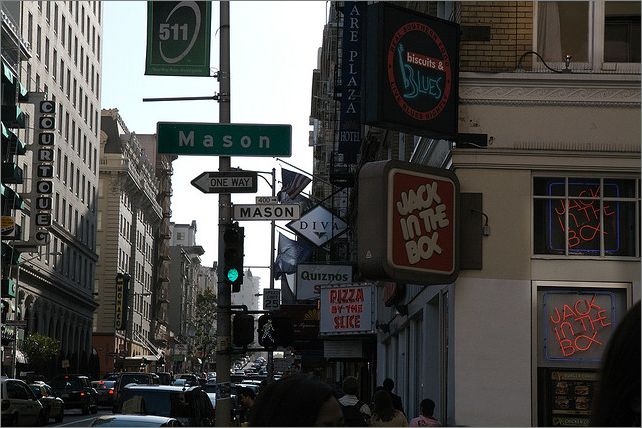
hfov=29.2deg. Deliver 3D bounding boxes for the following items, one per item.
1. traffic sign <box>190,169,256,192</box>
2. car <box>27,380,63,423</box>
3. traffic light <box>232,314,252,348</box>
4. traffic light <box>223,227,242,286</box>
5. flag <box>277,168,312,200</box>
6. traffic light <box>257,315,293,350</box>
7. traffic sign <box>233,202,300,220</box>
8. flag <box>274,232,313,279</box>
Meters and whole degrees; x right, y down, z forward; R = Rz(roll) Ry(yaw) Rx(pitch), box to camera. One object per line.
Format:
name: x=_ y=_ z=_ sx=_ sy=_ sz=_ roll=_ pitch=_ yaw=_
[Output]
traffic sign: x=-2.488 y=-0.835 z=32.712 sx=1.605 sy=0.703 sz=0.378 roll=-1 pitch=-12 yaw=4
car: x=-11.392 y=7.980 z=50.905 sx=1.144 sy=1.124 sz=2.570 roll=-1 pitch=-4 yaw=2
traffic light: x=-2.042 y=3.198 z=32.843 sx=0.546 sy=0.972 sz=0.606 roll=1 pitch=-13 yaw=-2
traffic light: x=-2.279 y=1.145 z=32.403 sx=0.511 sy=1.769 sz=0.460 roll=1 pitch=-12 yaw=-4
flag: x=-1.223 y=-1.305 z=56.223 sx=0.727 sy=1.681 sz=1.632 roll=10 pitch=-16 yaw=-37
traffic light: x=-1.242 y=3.238 z=33.538 sx=0.941 sy=0.946 sz=0.648 roll=1 pitch=-13 yaw=-3
traffic sign: x=-1.460 y=-0.042 z=32.975 sx=1.783 sy=0.504 sz=0.361 roll=1 pitch=-13 yaw=-5
flag: x=-1.134 y=1.901 z=54.585 sx=1.756 sy=3.172 sz=1.621 roll=3 pitch=2 yaw=-6
